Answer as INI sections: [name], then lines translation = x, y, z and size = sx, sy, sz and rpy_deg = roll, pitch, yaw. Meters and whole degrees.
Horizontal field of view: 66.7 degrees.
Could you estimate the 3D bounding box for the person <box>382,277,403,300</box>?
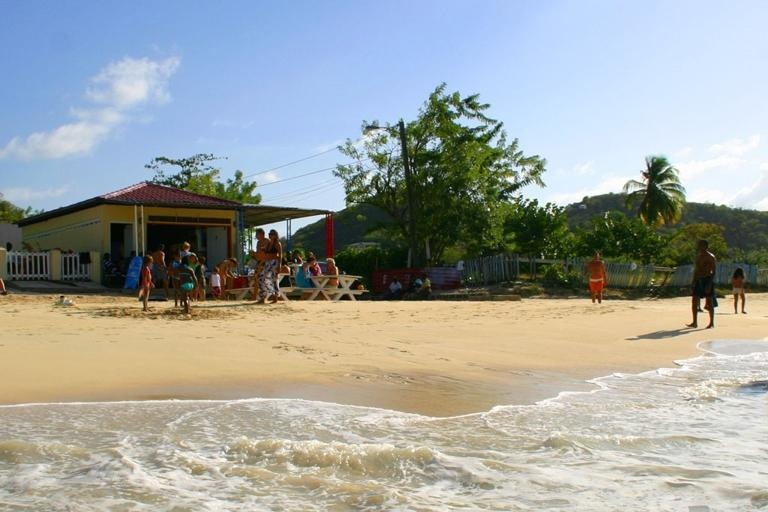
[person]
translation = 0.311, 1.597, 26.044
size = 0.906, 1.231, 0.817
rpy_deg = -7, -32, 17
